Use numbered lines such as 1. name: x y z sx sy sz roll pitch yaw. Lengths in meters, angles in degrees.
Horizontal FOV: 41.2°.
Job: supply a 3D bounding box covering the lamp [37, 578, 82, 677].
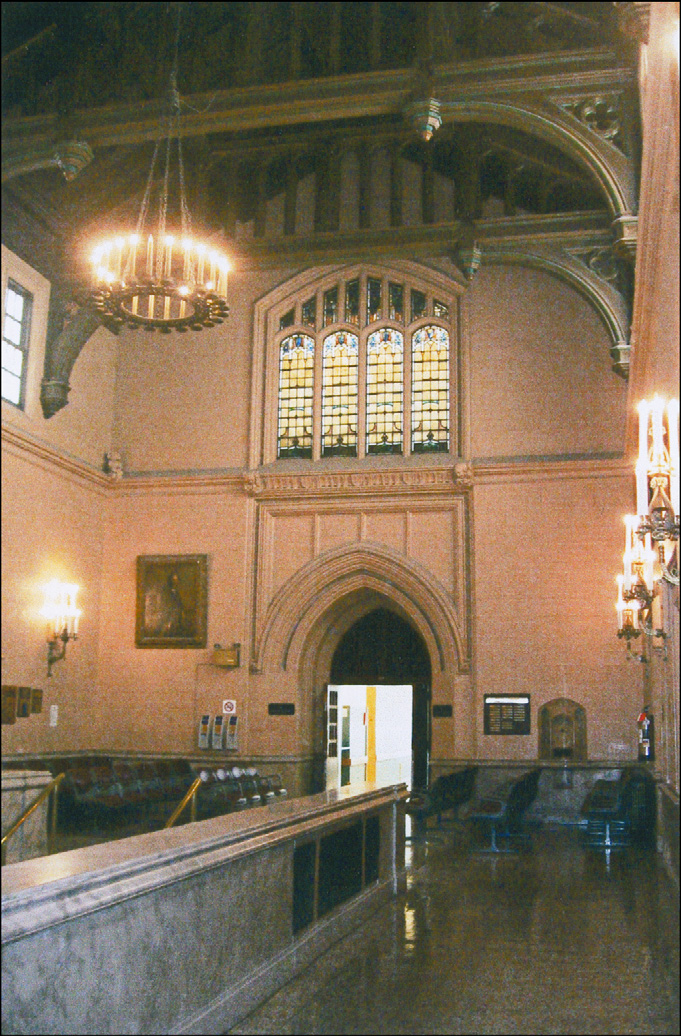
1. lamp: -4.630 1.902 15.104 0.573 1.560 0.324 -1 6 -18
